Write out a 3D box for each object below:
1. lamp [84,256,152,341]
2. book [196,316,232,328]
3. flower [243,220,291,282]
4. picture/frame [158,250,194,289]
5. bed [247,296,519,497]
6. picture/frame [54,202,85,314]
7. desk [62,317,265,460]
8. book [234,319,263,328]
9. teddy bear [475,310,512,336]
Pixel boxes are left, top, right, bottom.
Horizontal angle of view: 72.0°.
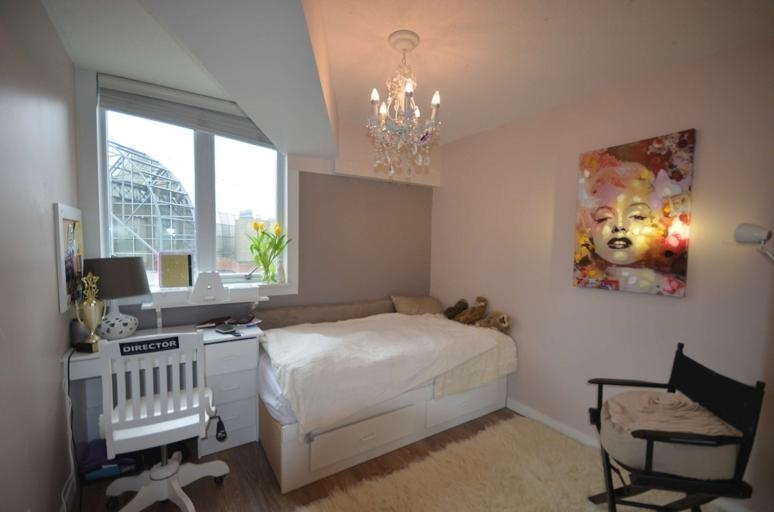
[{"bbox_3d":[-2.279,0.360,4.428,0.484,0.665,0.459,0,1,-20],"label":"lamp"},{"bbox_3d":[-1.572,0.595,4.813,0.281,0.099,0.095,2,2,-39],"label":"book"},{"bbox_3d":[-1.171,-0.068,5.129,0.435,0.576,0.185,5,3,-30],"label":"flower"},{"bbox_3d":[-1.880,0.122,4.728,0.306,0.304,0.072,-5,0,-30],"label":"picture/frame"},{"bbox_3d":[-0.039,1.108,5.111,2.456,0.891,1.366,-6,13,-30],"label":"bed"},{"bbox_3d":[-2.485,0.006,4.178,0.107,0.821,0.447,-2,4,-14],"label":"picture/frame"},{"bbox_3d":[-1.782,1.082,4.161,1.197,0.872,0.455,-1,-1,-38],"label":"desk"},{"bbox_3d":[-1.279,0.607,4.832,0.137,0.049,0.106,-13,3,11],"label":"book"},{"bbox_3d":[1.068,0.657,5.264,0.268,0.221,0.096,-9,13,20],"label":"teddy bear"}]
